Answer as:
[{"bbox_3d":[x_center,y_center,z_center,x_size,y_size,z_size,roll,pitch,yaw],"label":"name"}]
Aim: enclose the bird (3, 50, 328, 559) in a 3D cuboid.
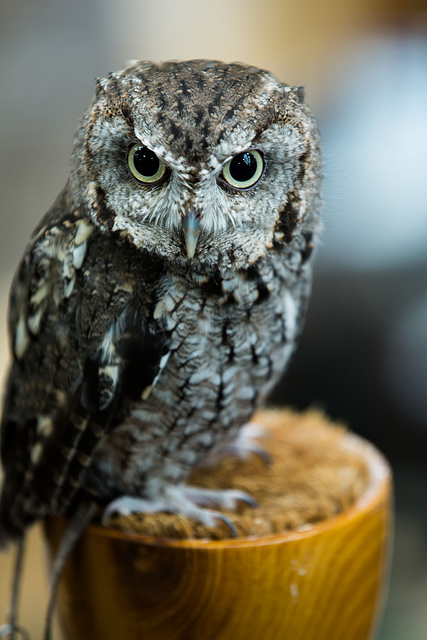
[{"bbox_3d":[-0.091,0.019,0.887,0.367,0.625,0.263,10,18,10],"label":"bird"}]
